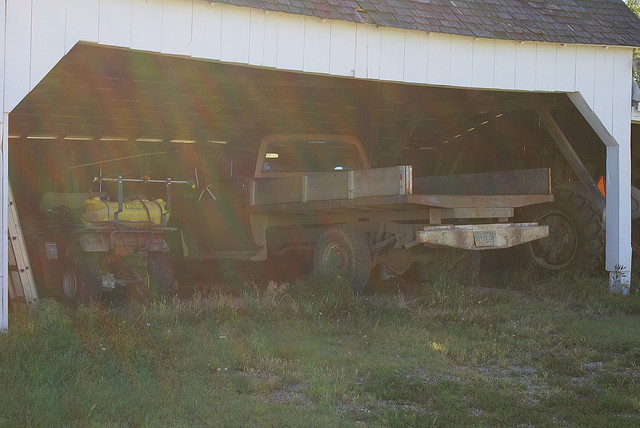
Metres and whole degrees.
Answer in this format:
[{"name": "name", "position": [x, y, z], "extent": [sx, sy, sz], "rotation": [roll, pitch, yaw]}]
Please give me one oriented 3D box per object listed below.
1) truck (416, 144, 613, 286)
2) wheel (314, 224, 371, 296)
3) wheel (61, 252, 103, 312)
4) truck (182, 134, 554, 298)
[{"name": "truck", "position": [4.072, -0.153, 15.363], "extent": [2.894, 1.976, 2.160], "rotation": [3, 3, 35]}, {"name": "wheel", "position": [0.396, 0.770, 13.094], "extent": [0.969, 1.094, 0.368], "rotation": [-5, -2, 42]}, {"name": "wheel", "position": [-3.635, 0.989, 12.270], "extent": [1.000, 0.730, 0.498], "rotation": [-6, -1, 44]}, {"name": "truck", "position": [0.499, -0.117, 13.528], "extent": [5.620, 2.600, 2.712], "rotation": [-6, -1, 36]}]
